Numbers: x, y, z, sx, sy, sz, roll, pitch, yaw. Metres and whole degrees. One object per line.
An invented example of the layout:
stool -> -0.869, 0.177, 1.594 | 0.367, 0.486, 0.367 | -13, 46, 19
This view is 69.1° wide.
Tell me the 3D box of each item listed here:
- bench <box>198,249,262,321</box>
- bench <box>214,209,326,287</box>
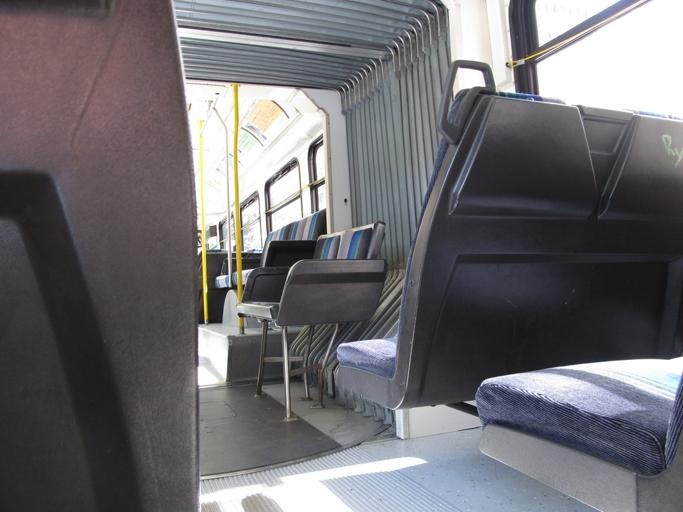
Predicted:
bench -> -1.258, 0.321, 5.548 | 0.465, 0.881, 0.842 | 4, -9, -23
bench -> -0.870, -0.136, 6.062 | 0.614, 0.793, 1.414 | 2, -11, -22
